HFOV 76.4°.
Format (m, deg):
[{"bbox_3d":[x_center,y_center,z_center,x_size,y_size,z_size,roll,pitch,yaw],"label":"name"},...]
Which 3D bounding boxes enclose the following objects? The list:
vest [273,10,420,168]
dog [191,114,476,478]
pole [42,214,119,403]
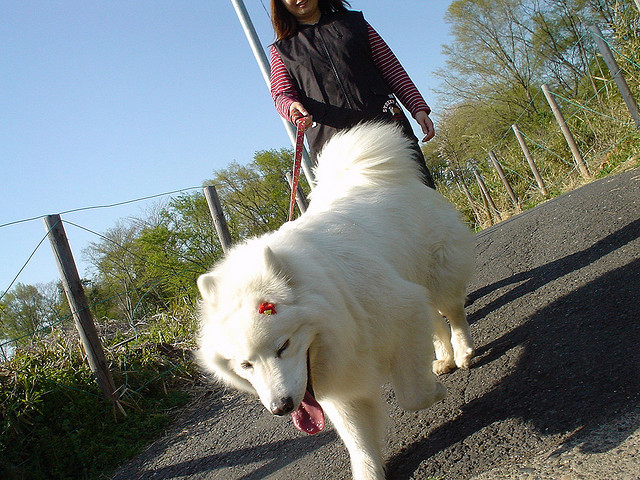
[{"bbox_3d":[0.175,-1.427,4.105,1.123,1.709,1.042,-10,-14,-35],"label":"vest"},{"bbox_3d":[0.147,0.281,3.724,1.497,2.263,3.018,-25,16,47],"label":"dog"},{"bbox_3d":[-2.598,0.759,4.459,0.559,2.113,0.229,-3,5,1],"label":"pole"}]
